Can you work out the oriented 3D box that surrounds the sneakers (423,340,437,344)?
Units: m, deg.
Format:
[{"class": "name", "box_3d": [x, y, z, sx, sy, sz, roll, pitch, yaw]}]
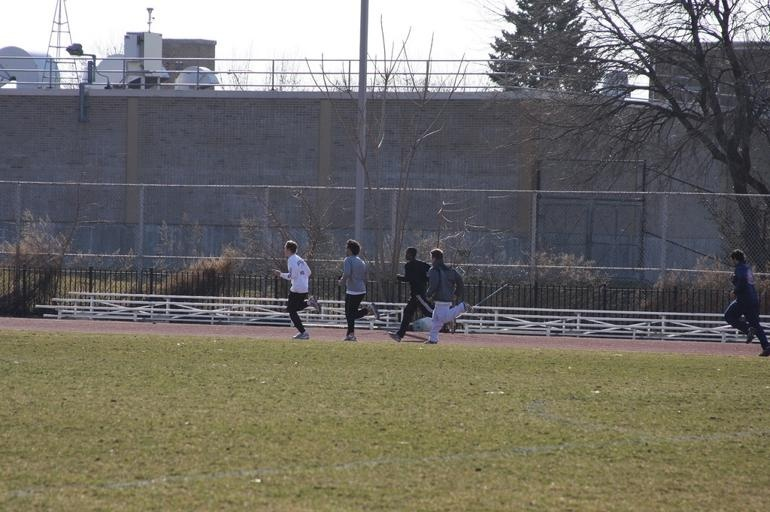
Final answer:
[{"class": "sneakers", "box_3d": [1.200, 2.354, 48.333, 0.340, 0.139, 0.122, 5, 0, 8]}]

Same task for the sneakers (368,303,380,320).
[{"class": "sneakers", "box_3d": [-0.316, 1.566, 50.163, 0.234, 0.186, 0.601, 11, -33, 37]}]

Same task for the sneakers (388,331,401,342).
[{"class": "sneakers", "box_3d": [0.216, 2.232, 49.204, 0.395, 0.165, 0.159, 28, 5, 25]}]

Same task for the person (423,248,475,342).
[{"class": "person", "box_3d": [1.577, 1.093, 48.495, 1.167, 2.381, 0.786, 1, 0, -16]}]
